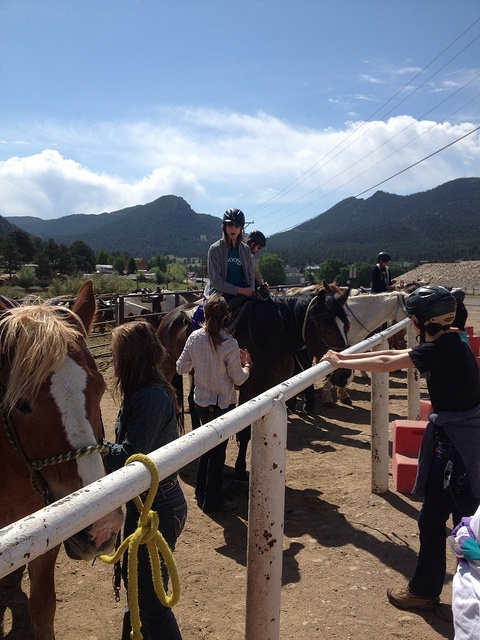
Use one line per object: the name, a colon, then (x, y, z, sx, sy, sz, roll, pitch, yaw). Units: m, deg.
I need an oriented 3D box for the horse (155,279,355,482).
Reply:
horse: (-0.058, 0.590, 5.528, 2.473, 2.012, 0.685, 8, 22, 25)

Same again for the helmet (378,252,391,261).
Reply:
helmet: (2.985, -1.309, 10.495, 0.230, 0.237, 0.221, 2, 16, 25)

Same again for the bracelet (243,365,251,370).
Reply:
bracelet: (0.056, 0.382, 4.025, 0.039, 0.039, 0.038, -2, 2, -27)

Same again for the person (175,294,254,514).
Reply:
person: (-0.204, 0.695, 4.137, 0.564, 1.803, 0.646, -3, 2, -17)

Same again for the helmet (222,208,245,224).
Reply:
helmet: (-0.079, -1.051, 5.199, 0.210, 0.161, 0.144, -3, 2, -3)
